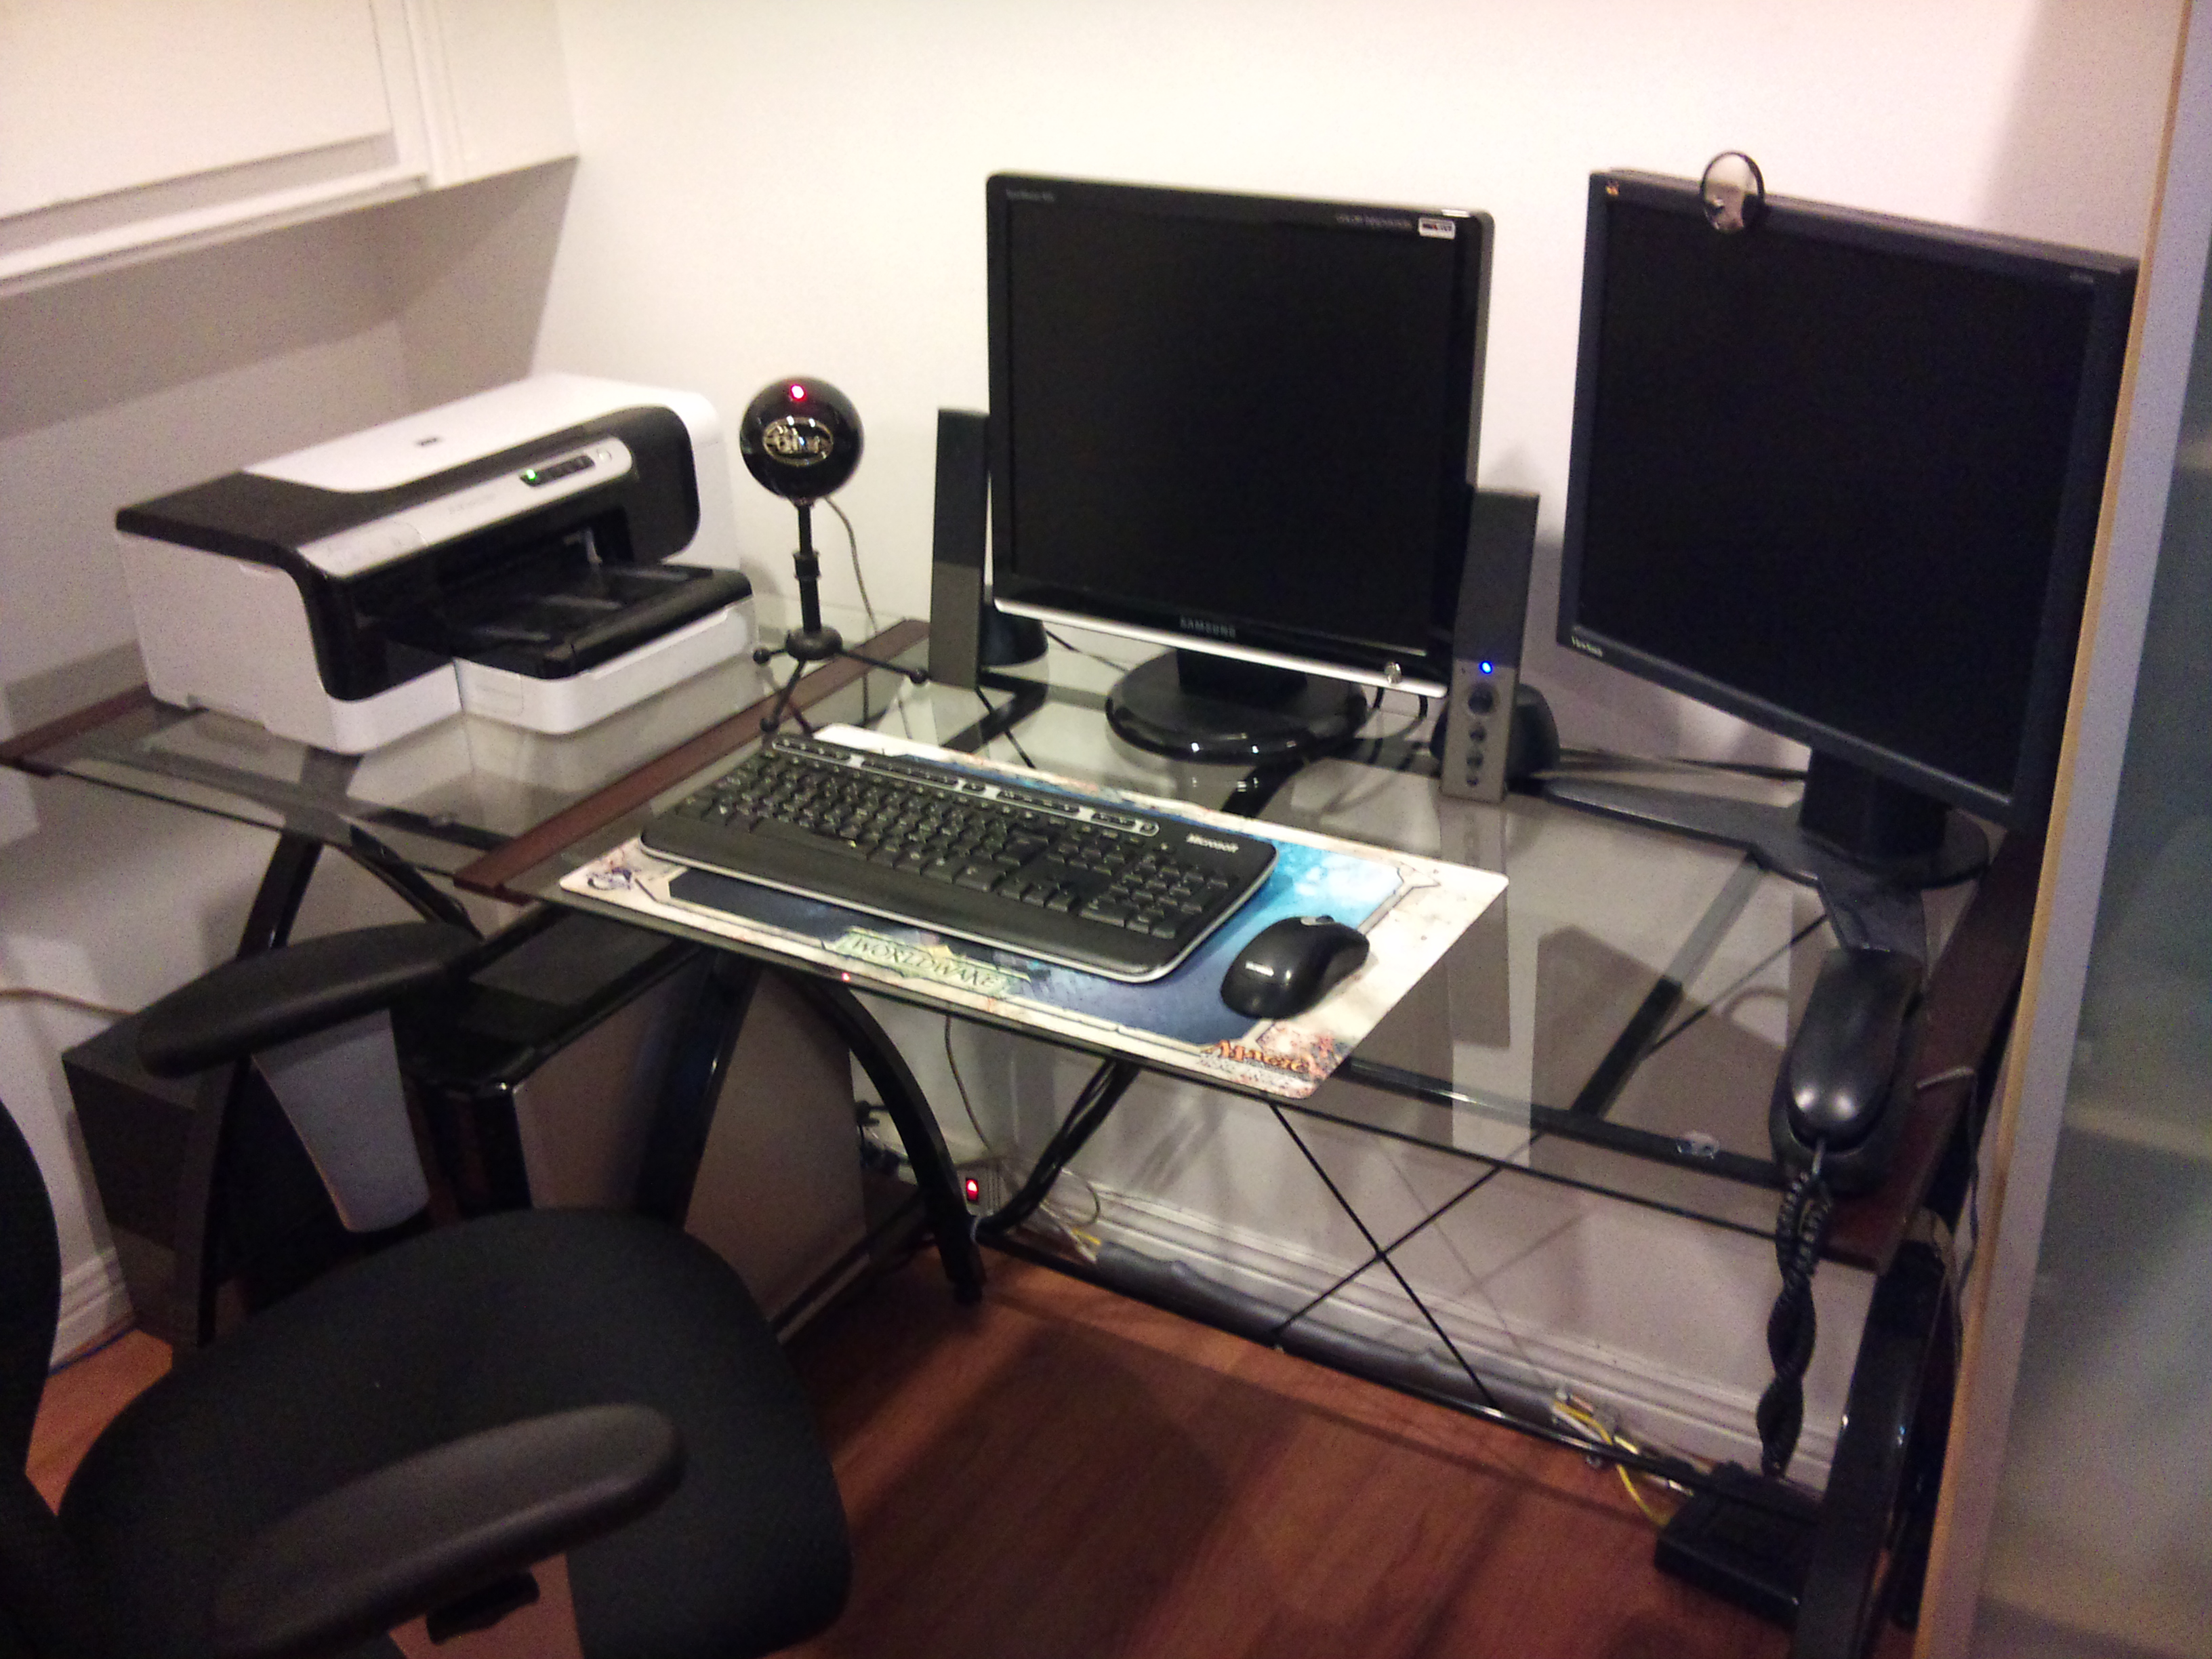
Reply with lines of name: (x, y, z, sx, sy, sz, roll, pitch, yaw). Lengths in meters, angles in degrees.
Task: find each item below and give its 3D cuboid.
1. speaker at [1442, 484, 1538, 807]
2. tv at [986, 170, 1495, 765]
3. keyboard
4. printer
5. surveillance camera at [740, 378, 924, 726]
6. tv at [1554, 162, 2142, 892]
speaker: (0.377, -0.182, 1.784, 0.055, 0.304, 0.091, -16, 31, -36)
tv: (0.122, -0.400, 1.825, 0.570, 0.576, 0.095, 17, 29, 32)
keyboard: (-0.147, 0.020, 1.679, 0.583, 0.051, 0.223, 14, 35, 19)
printer: (-0.790, -0.361, 2.047, 0.441, 0.475, 0.614, 16, 29, 29)
surveillance camera: (-0.337, -0.289, 2.113, 0.187, 0.449, 0.164, -15, 32, -35)
tv: (0.602, -0.313, 1.633, 0.568, 0.551, 0.078, -18, 29, -28)
